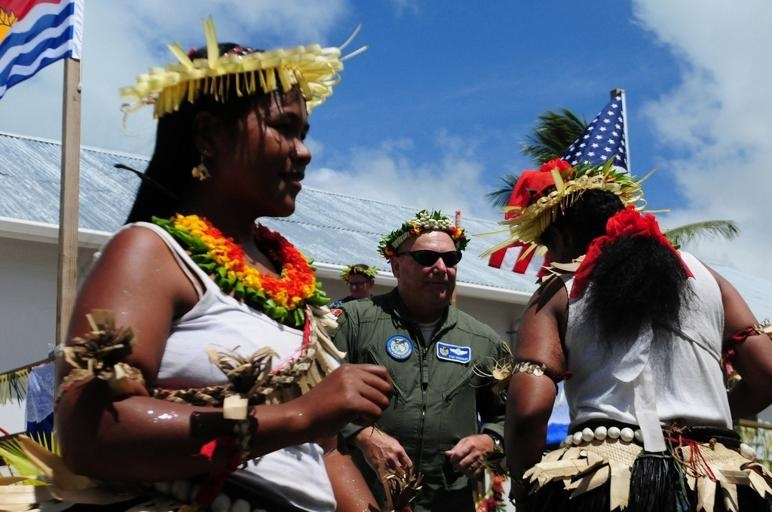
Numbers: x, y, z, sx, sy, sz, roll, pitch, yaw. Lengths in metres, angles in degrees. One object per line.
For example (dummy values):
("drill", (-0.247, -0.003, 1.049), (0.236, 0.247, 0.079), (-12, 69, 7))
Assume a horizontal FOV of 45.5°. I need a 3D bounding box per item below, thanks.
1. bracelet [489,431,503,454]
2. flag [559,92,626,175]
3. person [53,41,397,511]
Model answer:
("bracelet", (0.751, 1.275, 6.312), (0.089, 0.113, 0.131), (15, 1, -33))
("flag", (2.911, -1.726, 12.307), (0.771, 1.148, 1.236), (11, 0, 5))
("person", (-0.633, 0.022, 4.125), (1.299, 2.125, 0.807), (12, 0, -15))
